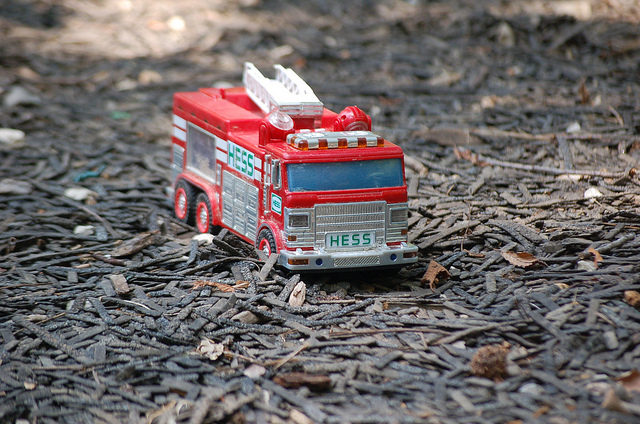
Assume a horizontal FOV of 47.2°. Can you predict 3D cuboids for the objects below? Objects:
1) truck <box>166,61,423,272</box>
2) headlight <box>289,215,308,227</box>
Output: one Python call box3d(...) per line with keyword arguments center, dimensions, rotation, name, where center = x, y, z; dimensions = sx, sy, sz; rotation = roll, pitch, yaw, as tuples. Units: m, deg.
box3d(center=(-0.698, -0.989, 13.835), dimensions=(2.916, 2.633, 5.305), rotation=(-8, 22, -27), name="truck")
box3d(center=(-0.365, 0.146, 11.965), dimensions=(0.229, 0.198, 0.144), rotation=(1, 2, -4), name="headlight")
